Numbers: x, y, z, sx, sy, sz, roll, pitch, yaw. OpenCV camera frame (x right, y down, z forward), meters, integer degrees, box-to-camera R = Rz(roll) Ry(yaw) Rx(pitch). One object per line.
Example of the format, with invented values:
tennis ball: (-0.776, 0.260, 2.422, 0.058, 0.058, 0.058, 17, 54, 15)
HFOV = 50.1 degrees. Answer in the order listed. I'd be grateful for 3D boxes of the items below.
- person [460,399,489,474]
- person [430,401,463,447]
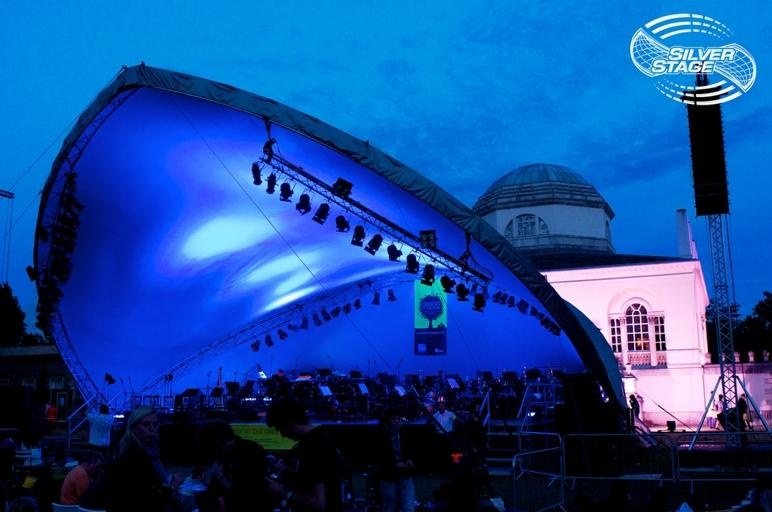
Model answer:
person: (2.214, 4.511, 21.221, 0.705, 2.273, 0.579, 5, 32, 3)
person: (1.752, 5.184, 25.709, 0.698, 0.453, 1.657, 6, -37, 16)
